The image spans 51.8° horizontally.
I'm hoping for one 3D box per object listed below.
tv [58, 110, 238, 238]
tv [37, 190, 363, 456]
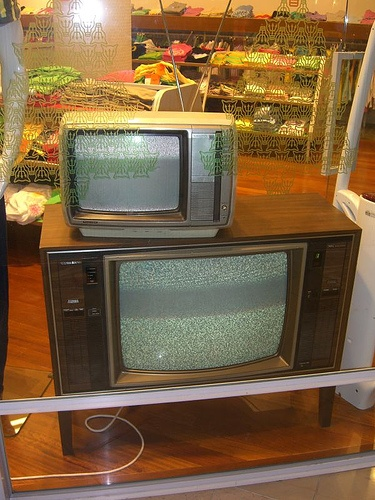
[{"bbox_3d":[-0.078,-0.131,0.893,0.430,0.294,0.208,0,41,-3],"label":"tv"},{"bbox_3d":[0.006,0.177,0.986,0.795,0.566,0.287,-5,35,-6],"label":"tv"}]
